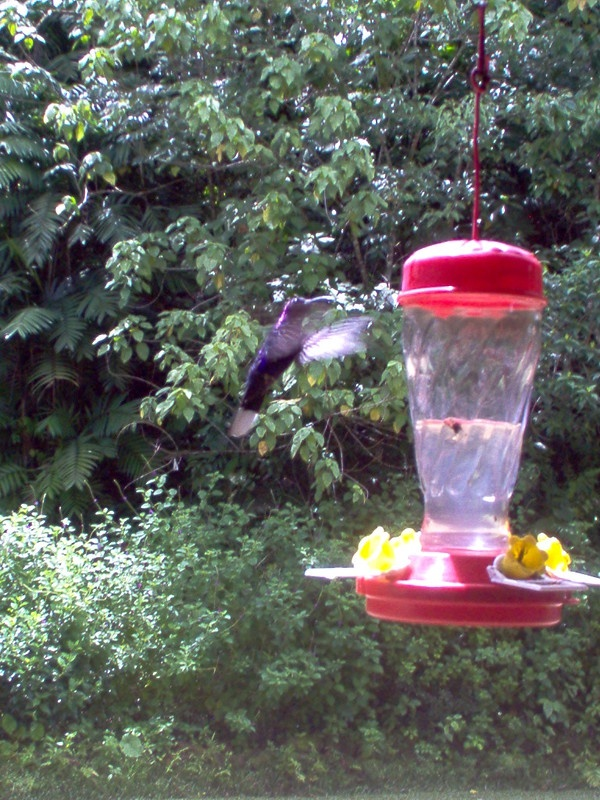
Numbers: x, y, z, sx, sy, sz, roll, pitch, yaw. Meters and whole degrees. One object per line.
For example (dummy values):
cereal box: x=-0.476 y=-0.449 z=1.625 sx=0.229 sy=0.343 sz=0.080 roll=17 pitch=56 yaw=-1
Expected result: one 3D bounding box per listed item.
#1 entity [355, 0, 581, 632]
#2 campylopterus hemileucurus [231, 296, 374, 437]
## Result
entity: x=0.481 y=-0.140 z=3.158 sx=0.598 sy=1.756 sz=0.954 roll=1 pitch=3 yaw=3
campylopterus hemileucurus: x=-0.050 y=-0.185 z=4.457 sx=0.590 sy=0.271 sz=0.602 roll=-36 pitch=-6 yaw=13
